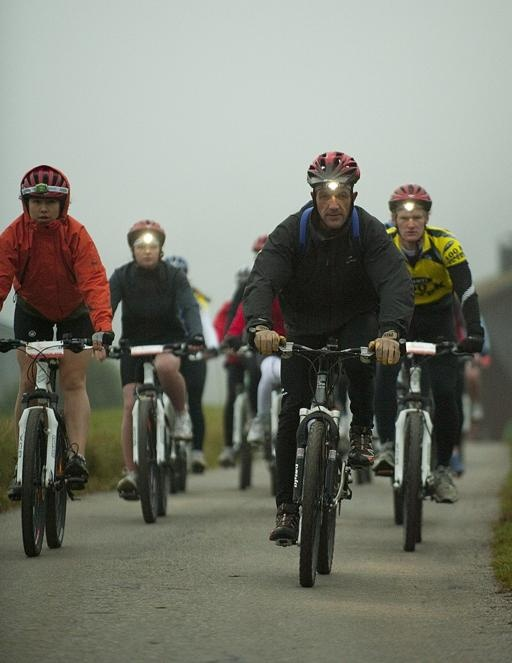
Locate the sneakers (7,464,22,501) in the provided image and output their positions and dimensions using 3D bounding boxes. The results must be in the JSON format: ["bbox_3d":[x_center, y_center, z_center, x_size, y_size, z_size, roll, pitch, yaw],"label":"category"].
[{"bbox_3d":[-1.233,0.770,5.920,0.081,0.168,0.057,3,0,23],"label":"sneakers"}]

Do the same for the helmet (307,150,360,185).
[{"bbox_3d":[0.362,-0.764,5.464,0.294,0.180,0.440,3,13,9],"label":"helmet"}]

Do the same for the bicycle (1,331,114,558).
[{"bbox_3d":[-1.105,0.610,6.150,0.341,1.137,0.768,0,-2,-11],"label":"bicycle"}]

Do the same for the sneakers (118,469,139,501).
[{"bbox_3d":[-0.853,1.027,7.721,0.118,0.208,0.095,6,9,28],"label":"sneakers"}]

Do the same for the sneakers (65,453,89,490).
[{"bbox_3d":[-0.991,0.785,6.400,0.078,0.108,0.234,2,-34,-6],"label":"sneakers"}]

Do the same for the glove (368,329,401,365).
[{"bbox_3d":[0.572,0.064,5.146,0.135,0.150,0.259,-1,-3,7],"label":"glove"}]

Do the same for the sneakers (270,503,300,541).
[{"bbox_3d":[0.126,0.888,5.357,0.073,0.112,0.231,-1,-13,7],"label":"sneakers"}]

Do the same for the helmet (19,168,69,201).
[{"bbox_3d":[-1.145,-0.801,6.254,0.258,0.175,0.186,0,-3,-12],"label":"helmet"}]

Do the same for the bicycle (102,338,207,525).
[{"bbox_3d":[-0.736,0.606,8.294,0.672,1.108,1.738,0,4,-1],"label":"bicycle"}]

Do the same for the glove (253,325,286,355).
[{"bbox_3d":[0.056,0.044,5.094,0.091,0.066,0.129,-16,18,-3],"label":"glove"}]

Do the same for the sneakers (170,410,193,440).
[{"bbox_3d":[-0.561,0.707,8.848,0.171,0.263,0.202,3,-3,-2],"label":"sneakers"}]

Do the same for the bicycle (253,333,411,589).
[{"bbox_3d":[0.309,0.612,5.449,0.495,1.133,0.797,-1,-2,1],"label":"bicycle"}]
